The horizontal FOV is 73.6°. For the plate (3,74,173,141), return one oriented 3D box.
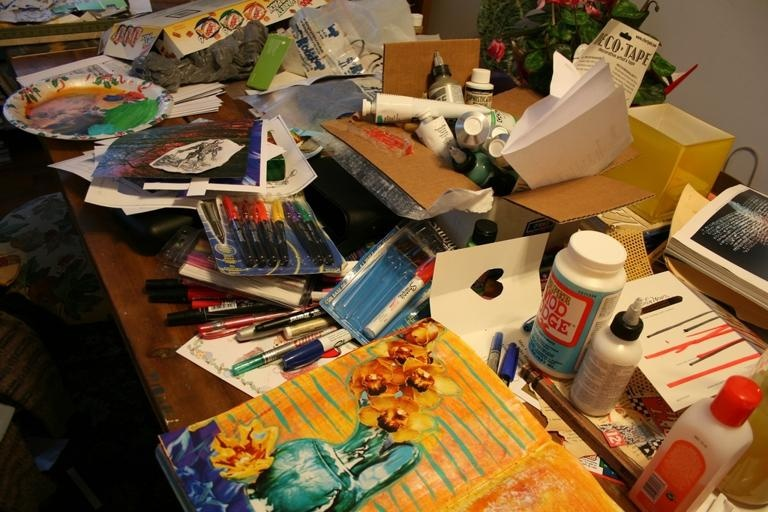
[{"bbox_3d":[-0.720,-0.362,1.269,0.295,0.031,0.265,-22,55,-31],"label":"plate"}]

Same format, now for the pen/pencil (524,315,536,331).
[{"bbox_3d":[0.240,0.112,0.848,0.017,0.009,0.026,31,87,11],"label":"pen/pencil"}]

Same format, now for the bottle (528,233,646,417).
[{"bbox_3d":[0.294,0.112,0.748,0.104,0.225,0.165,-23,52,-20],"label":"bottle"}]
